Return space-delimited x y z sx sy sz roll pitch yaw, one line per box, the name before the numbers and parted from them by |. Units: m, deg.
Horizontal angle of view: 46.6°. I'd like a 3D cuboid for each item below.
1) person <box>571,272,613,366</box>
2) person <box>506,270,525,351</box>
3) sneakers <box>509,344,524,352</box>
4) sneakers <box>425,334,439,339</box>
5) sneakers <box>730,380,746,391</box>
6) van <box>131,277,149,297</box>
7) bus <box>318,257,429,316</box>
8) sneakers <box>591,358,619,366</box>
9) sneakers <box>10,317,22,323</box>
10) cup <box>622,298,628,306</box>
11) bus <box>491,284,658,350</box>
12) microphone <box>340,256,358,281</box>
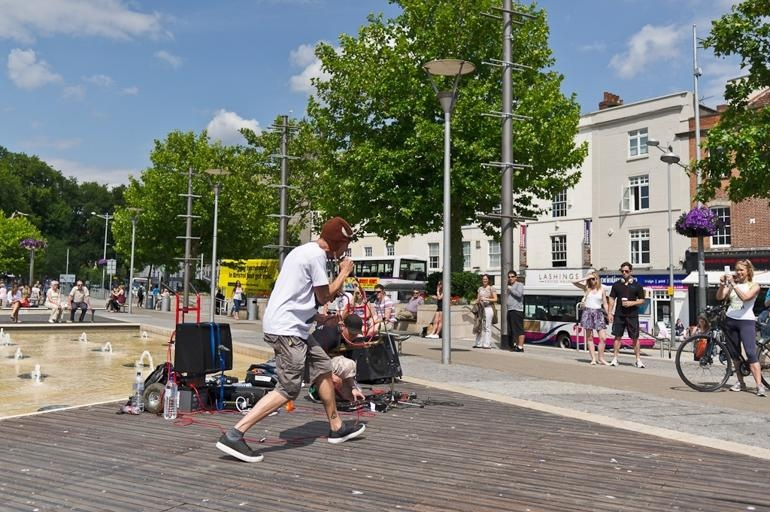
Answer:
person | 5.239 1.544 22.507 0.852 2.427 1.157 4 14 11
person | 3.640 1.521 25.002 0.451 2.164 1.060 0 14 -5
sneakers | 3.678 2.554 24.894 0.292 0.108 0.159 26 -32 -34
sneakers | 1.501 2.530 28.361 0.151 0.166 0.403 9 -10 -40
sneakers | 7.532 2.773 19.022 0.420 0.174 0.164 7 -13 -26
van | -19.670 2.437 71.831 1.545 1.341 2.406 -1 -8 -8
bus | -0.279 1.120 49.622 5.340 2.393 2.057 -4 -6 42
sneakers | 5.488 2.668 22.435 0.639 0.259 0.213 -9 -6 29
sneakers | -13.732 2.353 33.296 0.565 0.196 0.202 -2 -2 32
cup | 5.806 1.111 21.753 0.145 0.134 0.142 -2 2 0
bus | 6.780 2.442 35.580 2.206 2.024 6.762 2 -6 -25
microphone | -0.627 0.217 15.093 0.132 0.367 0.273 19 12 -39
